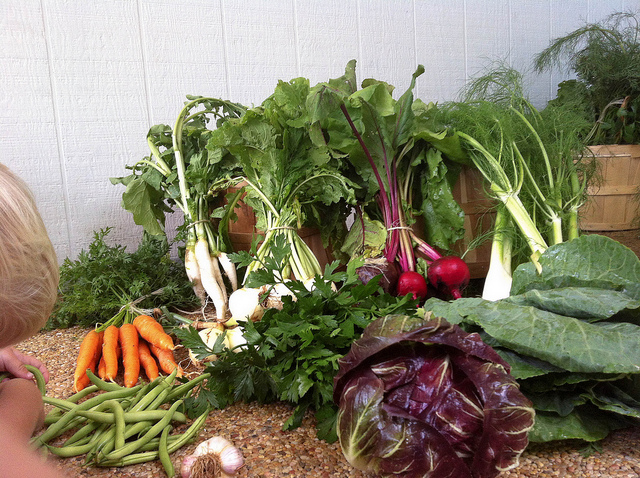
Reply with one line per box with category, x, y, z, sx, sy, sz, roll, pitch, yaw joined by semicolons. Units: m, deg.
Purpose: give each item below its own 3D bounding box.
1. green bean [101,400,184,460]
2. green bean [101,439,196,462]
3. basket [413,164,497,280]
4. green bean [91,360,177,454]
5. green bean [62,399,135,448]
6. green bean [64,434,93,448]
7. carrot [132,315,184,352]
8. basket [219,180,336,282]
green bean;-0.450;0.461;1.173;0.147;0.085;0.122;-5;12;-44
green bean;-0.426;0.517;1.130;0.197;0.030;0.020;-13;15;-43
basket;0.560;-0.062;1.907;0.341;0.462;0.229;1;17;11
green bean;-0.481;0.435;1.205;0.128;0.117;0.175;10;11;27
green bean;-0.585;0.466;1.222;0.138;0.074;0.126;6;8;41
green bean;-0.599;0.505;1.153;0.062;0.016;0.034;-12;20;-27
carrot;-0.566;0.281;1.616;0.087;0.080;0.285;-12;18;-31
basket;-0.171;-0.043;1.896;0.470;0.400;0.286;-5;17;-9
